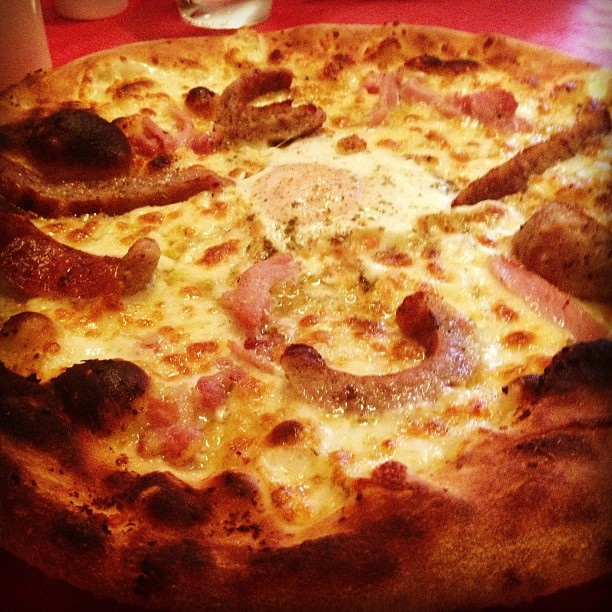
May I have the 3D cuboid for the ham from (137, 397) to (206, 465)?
[{"bbox_3d":[-0.314,0.289,2.019,0.141,0.031,0.132,17,59,18],"label":"ham"}]

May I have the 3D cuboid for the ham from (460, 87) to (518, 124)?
[{"bbox_3d":[0.635,-0.706,3.047,0.152,0.036,0.145,-33,57,-10],"label":"ham"}]

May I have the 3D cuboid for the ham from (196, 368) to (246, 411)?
[{"bbox_3d":[-0.208,0.184,2.109,0.069,0.050,0.132,15,38,25],"label":"ham"}]

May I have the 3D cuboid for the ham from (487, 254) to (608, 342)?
[{"bbox_3d":[0.614,-0.028,2.262,0.083,0.060,0.433,-21,37,-24],"label":"ham"}]

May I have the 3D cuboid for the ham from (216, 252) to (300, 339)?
[{"bbox_3d":[-0.129,-0.068,2.384,0.156,0.050,0.274,29,62,2],"label":"ham"}]
